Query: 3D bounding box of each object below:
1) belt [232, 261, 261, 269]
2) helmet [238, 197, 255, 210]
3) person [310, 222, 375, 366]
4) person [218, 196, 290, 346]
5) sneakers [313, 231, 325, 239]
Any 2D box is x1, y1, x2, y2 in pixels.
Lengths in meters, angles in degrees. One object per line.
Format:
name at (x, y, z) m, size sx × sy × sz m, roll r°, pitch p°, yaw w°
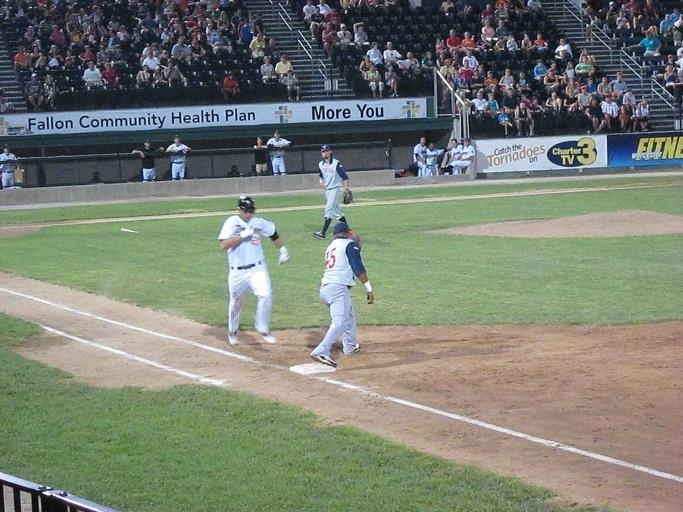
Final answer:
belt at (-1.942, 0.183, 22.736) m, size 0.572 × 0.134 × 0.088 m, roll -2°, pitch 6°, yaw -7°
helmet at (-1.963, -1.092, 22.789) m, size 0.284 × 0.258 × 0.320 m, roll 2°, pitch 19°, yaw -13°
person at (-0.018, 0.708, 22.022) m, size 1.182 × 2.709 × 1.265 m, roll -1°, pitch 6°, yaw 16°
person at (-1.917, 0.275, 22.741) m, size 1.077 × 2.967 × 0.638 m, roll -3°, pitch 6°, yaw -4°
sneakers at (-0.625, -0.605, 31.253) m, size 0.166 × 0.148 × 0.382 m, roll 6°, pitch -2°, yaw 42°
